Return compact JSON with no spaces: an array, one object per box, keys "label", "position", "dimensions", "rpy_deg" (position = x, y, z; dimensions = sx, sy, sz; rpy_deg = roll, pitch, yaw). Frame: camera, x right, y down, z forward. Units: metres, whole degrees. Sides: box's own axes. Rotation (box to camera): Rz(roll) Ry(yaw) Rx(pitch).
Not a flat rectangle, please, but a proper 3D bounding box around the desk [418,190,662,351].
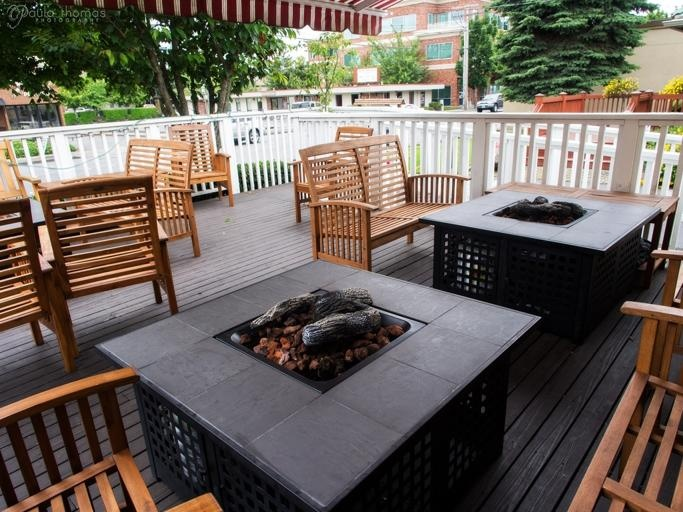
[{"label":"desk","position":[1.662,-0.081,3.250],"dimensions":[1.111,0.506,1.370],"rpy_deg":[13,21,37]}]
